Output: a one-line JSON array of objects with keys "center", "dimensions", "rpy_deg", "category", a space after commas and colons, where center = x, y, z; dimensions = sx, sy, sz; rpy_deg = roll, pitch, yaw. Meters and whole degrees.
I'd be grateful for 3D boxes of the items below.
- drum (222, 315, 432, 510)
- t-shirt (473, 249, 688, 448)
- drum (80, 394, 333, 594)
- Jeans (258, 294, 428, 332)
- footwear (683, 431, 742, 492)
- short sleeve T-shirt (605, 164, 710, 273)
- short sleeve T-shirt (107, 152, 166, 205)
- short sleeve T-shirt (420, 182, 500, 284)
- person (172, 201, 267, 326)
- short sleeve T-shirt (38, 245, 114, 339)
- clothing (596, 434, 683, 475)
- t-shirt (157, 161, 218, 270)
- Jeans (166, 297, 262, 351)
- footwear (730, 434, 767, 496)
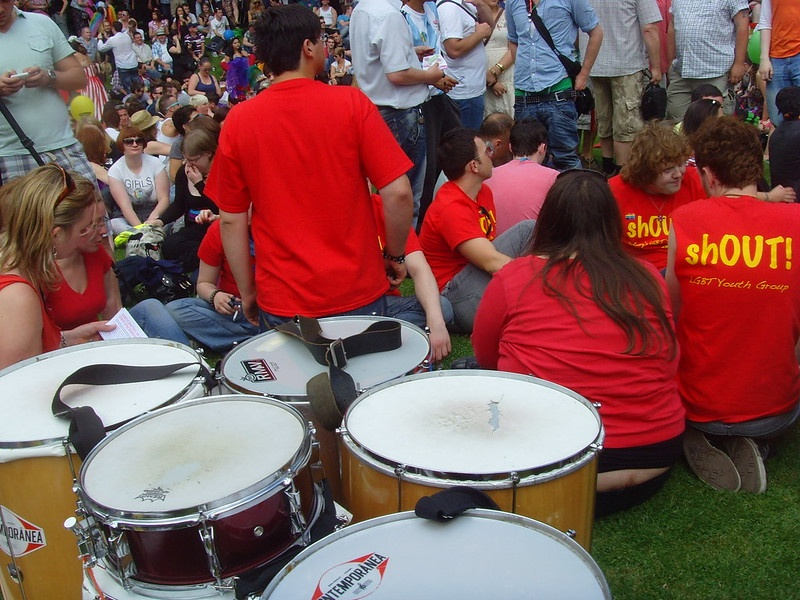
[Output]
[{"center": [-0.298, 0.530, 3.265], "dimensions": [0.703, 0.766, 0.749], "rpy_deg": [2, 32, 7], "category": "drum"}, {"center": [0.717, 0.252, 3.125], "dimensions": [0.664, 0.842, 0.850], "rpy_deg": [-16, 31, -16], "category": "t-shirt"}, {"center": [-0.643, 0.620, 2.431], "dimensions": [0.790, 0.350, 0.621], "rpy_deg": [-13, 23, -10], "category": "drum"}, {"center": [-0.198, 0.053, 4.078], "dimensions": [0.567, 0.138, 0.338], "rpy_deg": [-1, 17, 4], "category": "Jeans"}, {"center": [1.498, 0.792, 3.633], "dimensions": [0.389, 0.146, 0.142], "rpy_deg": [56, 14, 29], "category": "footwear"}, {"center": [1.367, -0.453, 3.928], "dimensions": [0.501, 0.495, 0.295], "rpy_deg": [-14, 34, 0], "category": "short sleeve T-shirt"}, {"center": [-2.534, -1.162, 7.124], "dimensions": [0.449, 0.455, 0.249], "rpy_deg": [-12, 22, -25], "category": "short sleeve T-shirt"}, {"center": [0.407, -0.495, 4.887], "dimensions": [0.510, 0.725, 0.925], "rpy_deg": [4, 30, 8], "category": "short sleeve T-shirt"}, {"center": [-1.085, -0.184, 4.406], "dimensions": [0.433, 0.660, 0.661], "rpy_deg": [17, 28, 30], "category": "person"}, {"center": [-1.605, -0.042, 3.627], "dimensions": [0.159, 0.310, 0.319], "rpy_deg": [20, 42, 24], "category": "short sleeve T-shirt"}, {"center": [1.025, 0.604, 3.180], "dimensions": [0.337, 0.209, 0.101], "rpy_deg": [-8, 56, -3], "category": "clothing"}, {"center": [-1.785, -0.764, 6.288], "dimensions": [0.434, 1.177, 0.584], "rpy_deg": [2, -16, -15], "category": "t-shirt"}, {"center": [-1.199, 0.163, 4.716], "dimensions": [0.454, 0.138, 0.462], "rpy_deg": [13, 15, -23], "category": "Jeans"}, {"center": [1.654, 0.780, 3.517], "dimensions": [0.080, 0.269, 0.146], "rpy_deg": [3, -12, -41], "category": "footwear"}]
